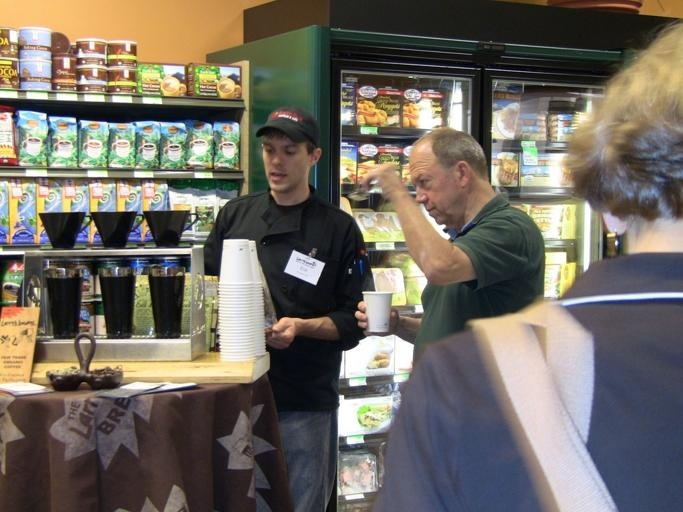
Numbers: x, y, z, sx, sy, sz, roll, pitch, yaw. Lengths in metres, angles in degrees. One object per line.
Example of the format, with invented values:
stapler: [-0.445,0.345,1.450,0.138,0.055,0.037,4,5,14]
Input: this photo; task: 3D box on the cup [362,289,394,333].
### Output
cup: [0.137,0.205,2.295,0.150,0.146,0.142,0,-1,0]

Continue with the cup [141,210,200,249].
cup: [-0.624,-0.105,2.185,0.169,0.103,0.138,-1,-4,0]

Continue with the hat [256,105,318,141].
hat: [-0.226,-0.554,2.670,0.167,0.111,0.226,16,1,32]

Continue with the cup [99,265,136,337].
cup: [-0.759,0.156,2.089,0.112,0.246,0.060,-2,5,-19]

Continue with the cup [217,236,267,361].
cup: [-0.339,0.140,2.125,0.147,0.396,0.228,-1,5,-2]

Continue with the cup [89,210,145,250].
cup: [-0.809,-0.087,2.205,0.165,0.105,0.137,-1,-1,0]

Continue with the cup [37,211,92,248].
cup: [-0.989,-0.096,2.191,0.170,0.112,0.140,-2,-2,-6]
